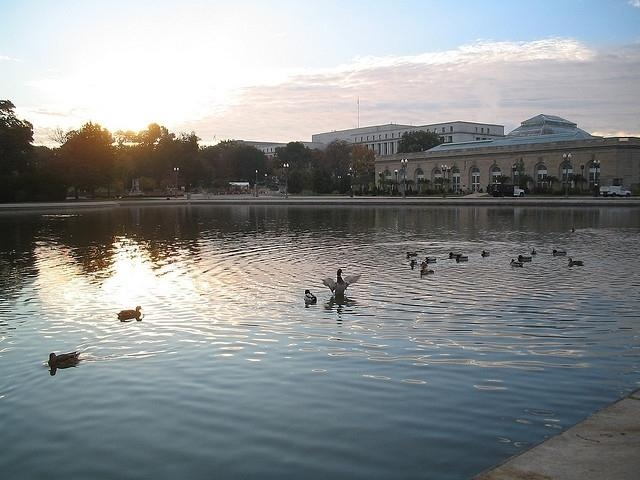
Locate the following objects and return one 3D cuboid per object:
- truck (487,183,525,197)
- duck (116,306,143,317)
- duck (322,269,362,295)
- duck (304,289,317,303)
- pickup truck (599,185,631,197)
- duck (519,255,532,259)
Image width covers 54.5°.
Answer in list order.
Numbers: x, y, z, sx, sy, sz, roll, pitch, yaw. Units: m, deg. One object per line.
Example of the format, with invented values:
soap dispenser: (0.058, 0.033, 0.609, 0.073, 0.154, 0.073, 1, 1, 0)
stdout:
truck: (24.417, -6.465, 81.007, 3.463, 1.560, 3.440, 0, 11, 6)
duck: (-4.143, 1.555, 13.483, 0.504, 0.271, 0.206, 2, 1, -17)
duck: (0.441, 1.044, 15.445, 0.950, 0.622, 0.670, -9, 12, -15)
duck: (-0.206, 1.343, 14.653, 0.281, 0.305, 0.380, -1, 11, -1)
pickup truck: (34.246, -5.587, 72.042, 3.677, 1.240, 1.997, -2, 5, 7)
duck: (6.683, 0.591, 20.264, 0.436, 0.115, 0.408, 0, 1, -1)
